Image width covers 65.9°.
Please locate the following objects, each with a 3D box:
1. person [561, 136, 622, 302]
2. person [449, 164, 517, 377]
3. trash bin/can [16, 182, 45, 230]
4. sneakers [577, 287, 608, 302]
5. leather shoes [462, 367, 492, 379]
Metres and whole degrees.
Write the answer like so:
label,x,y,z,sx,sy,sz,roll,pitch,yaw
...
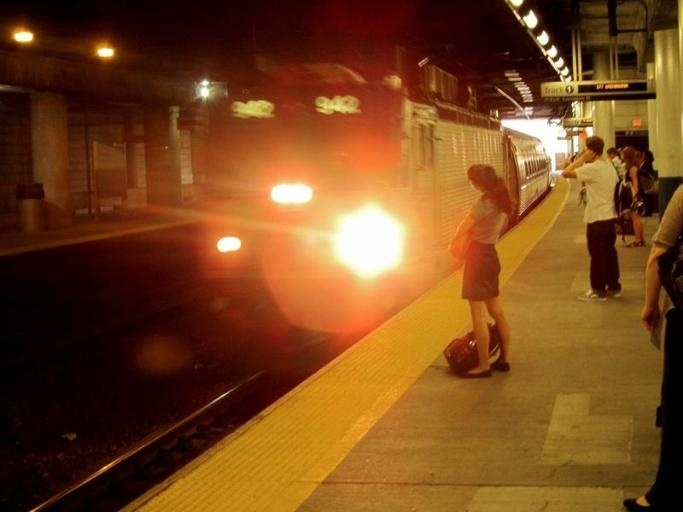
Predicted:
label,x,y,z,sx,sy,sz,roll,pitch,yaw
person,3.450,-0.511,7.206,0.486,2.263,0.959,5,10,45
person,1.319,0.131,4.920,0.596,1.952,0.353,-7,8,-32
trash bin/can,-10.146,-1.569,17.198,0.765,1.591,0.526,-6,8,-28
sneakers,3.516,0.538,7.422,0.402,0.208,0.157,3,4,11
leather shoes,1.264,1.097,4.932,0.272,0.118,0.104,5,-3,6
